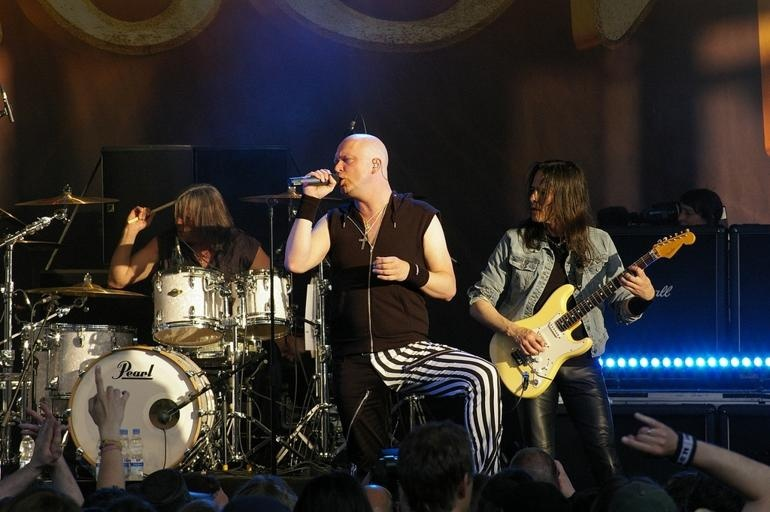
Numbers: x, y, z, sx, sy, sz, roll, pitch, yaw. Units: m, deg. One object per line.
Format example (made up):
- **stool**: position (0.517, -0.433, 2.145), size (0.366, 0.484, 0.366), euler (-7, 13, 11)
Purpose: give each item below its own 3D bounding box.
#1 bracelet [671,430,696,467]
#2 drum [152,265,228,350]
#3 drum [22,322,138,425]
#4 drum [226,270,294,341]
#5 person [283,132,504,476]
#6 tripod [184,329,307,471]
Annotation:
- **bracelet**: position (1.511, 0.964, 4.557), size (0.071, 0.141, 0.126), euler (9, -11, -5)
- **drum**: position (-1.440, 0.399, 6.951), size (0.616, 0.408, 0.584), euler (-4, -19, -1)
- **drum**: position (-2.422, 0.879, 7.020), size (0.762, 0.618, 0.755), euler (-1, -4, 38)
- **drum**: position (-0.945, 0.393, 7.009), size (0.545, 0.451, 0.525), euler (-1, -4, 8)
- **person**: position (0.101, 0.283, 5.924), size (1.202, 2.187, 0.318), euler (0, -7, 14)
- **tripod**: position (-1.148, 1.131, 7.093), size (1.042, 1.243, 1.022), euler (7, -16, -8)
